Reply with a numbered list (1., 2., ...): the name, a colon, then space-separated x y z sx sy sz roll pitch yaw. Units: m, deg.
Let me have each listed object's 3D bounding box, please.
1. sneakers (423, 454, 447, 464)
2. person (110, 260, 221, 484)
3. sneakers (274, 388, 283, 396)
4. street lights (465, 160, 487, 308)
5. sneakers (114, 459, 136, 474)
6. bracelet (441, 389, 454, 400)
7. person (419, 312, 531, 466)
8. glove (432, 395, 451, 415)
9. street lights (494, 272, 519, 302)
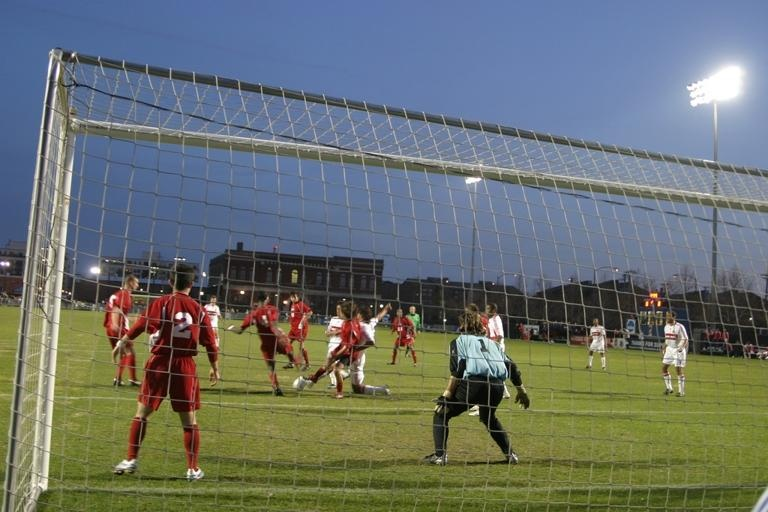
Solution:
1. sneakers: 0.648 2.521 9.061 0.340 0.149 0.117 0 -4 27
2. person: -2.542 1.335 8.601 1.102 2.477 1.529 3 -7 -19
3. sneakers: -1.906 2.460 13.092 0.134 0.199 0.182 -7 -4 -1
4. street lights: 1.093 -0.230 8.920 0.159 1.450 0.406 0 -6 7
5. sneakers: -2.931 2.408 8.250 0.240 0.186 0.382 3 -6 -20
6. bracelet: 0.799 1.706 8.909 0.051 0.162 0.115 38 -22 -19
7. person: 1.142 1.633 9.009 1.240 1.949 0.782 1 -6 1
8. glove: 0.722 1.913 9.005 0.240 0.324 0.117 8 10 21
9. street lights: 1.505 0.347 8.856 0.346 0.322 0.080 -3 18 -25
